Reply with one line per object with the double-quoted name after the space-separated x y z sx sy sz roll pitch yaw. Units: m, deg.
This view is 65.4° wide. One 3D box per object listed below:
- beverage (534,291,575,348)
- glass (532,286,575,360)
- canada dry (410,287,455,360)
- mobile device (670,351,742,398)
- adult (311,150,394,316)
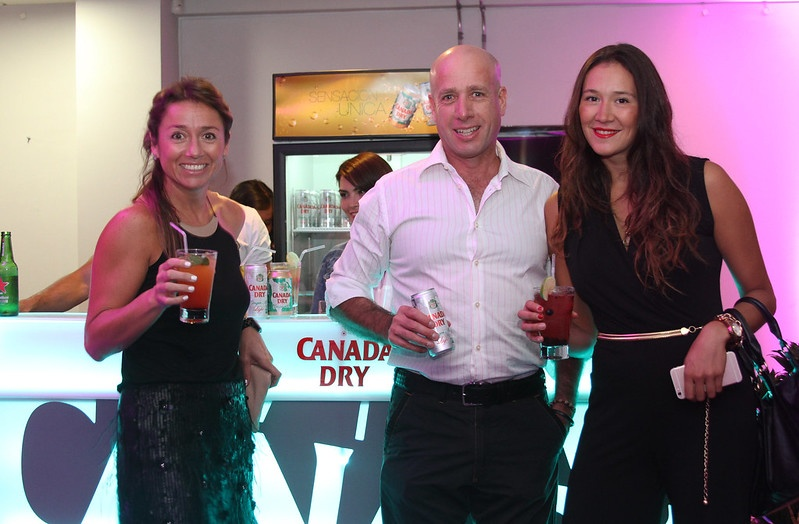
0.594 0.222 2.404 0.161 0.246 0.164 0 4 44 "beverage"
0.594 0.233 2.402 0.163 0.269 0.165 0 -2 31 "glass"
0.135 0.238 2.340 0.129 0.279 0.135 3 5 40 "canada dry"
1.106 0.408 2.293 0.249 0.139 0.033 -11 0 10 "mobile device"
-0.287 -0.056 4.644 0.592 1.489 0.427 0 14 10 "adult"
